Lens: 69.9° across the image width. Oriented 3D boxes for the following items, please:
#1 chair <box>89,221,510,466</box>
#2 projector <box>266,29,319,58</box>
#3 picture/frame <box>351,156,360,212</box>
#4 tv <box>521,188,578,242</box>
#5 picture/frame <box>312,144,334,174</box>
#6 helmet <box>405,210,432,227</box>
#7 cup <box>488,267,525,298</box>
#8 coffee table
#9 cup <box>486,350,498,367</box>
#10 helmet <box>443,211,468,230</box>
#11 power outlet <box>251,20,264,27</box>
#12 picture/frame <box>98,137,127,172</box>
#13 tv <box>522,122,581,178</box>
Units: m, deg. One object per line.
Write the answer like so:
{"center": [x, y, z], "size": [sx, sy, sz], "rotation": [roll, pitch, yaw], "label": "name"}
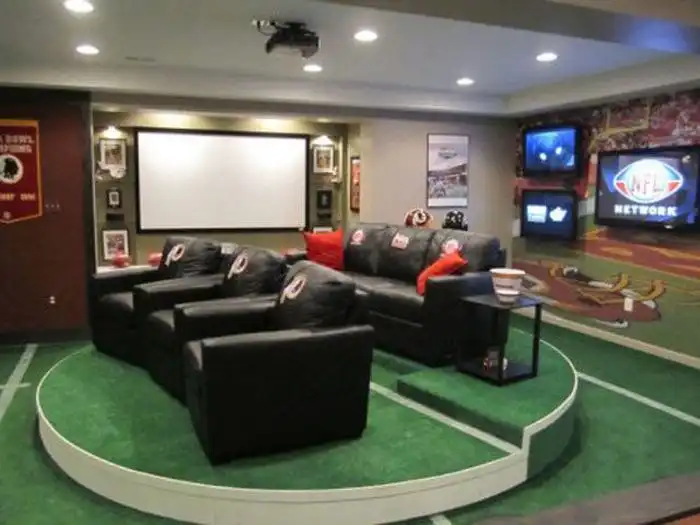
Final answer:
{"center": [-0.505, 0.264, 4.383], "size": [3.113, 1.046, 2.009], "rotation": [-5, 13, -28], "label": "chair"}
{"center": [-0.454, -1.722, 3.924], "size": [0.346, 0.170, 0.308], "rotation": [-3, 12, -20], "label": "projector"}
{"center": [0.076, -1.191, 7.364], "size": [0.015, 0.761, 0.290], "rotation": [5, 11, 28], "label": "picture/frame"}
{"center": [2.451, -0.597, 6.130], "size": [0.094, 0.511, 0.678], "rotation": [-5, 7, -38], "label": "tv"}
{"center": [-0.418, -1.547, 7.376], "size": [0.439, 0.543, 0.041], "rotation": [0, 3, -15], "label": "picture/frame"}
{"center": [0.745, -0.506, 5.562], "size": [0.272, 0.227, 0.204], "rotation": [-12, 12, -1], "label": "helmet"}
{"center": [1.178, 0.142, 3.840], "size": [0.209, 0.156, 0.205], "rotation": [1, 1, 0], "label": "cup"}
{"center": [1.162, 0.535, 3.919], "size": [0.695, 0.628, 0.605], "rotation": [-8, 14, -40], "label": "coffee table"}
{"center": [1.084, 0.731, 3.851], "size": [0.073, 0.123, 0.126], "rotation": [11, 18, 43], "label": "cup"}
{"center": [1.067, -0.443, 5.233], "size": [0.219, 0.240, 0.210], "rotation": [-6, 9, -31], "label": "helmet"}
{"center": [-0.693, -1.806, 3.763], "size": [0.055, 0.015, 0.053], "rotation": [3, -18, -4], "label": "power outlet"}
{"center": [-3.104, -1.423, 6.528], "size": [0.451, 0.581, 0.044], "rotation": [0, 2, -23], "label": "picture/frame"}
{"center": [2.392, -1.378, 6.089], "size": [0.850, 0.630, 0.093], "rotation": [-8, 12, -21], "label": "tv"}
